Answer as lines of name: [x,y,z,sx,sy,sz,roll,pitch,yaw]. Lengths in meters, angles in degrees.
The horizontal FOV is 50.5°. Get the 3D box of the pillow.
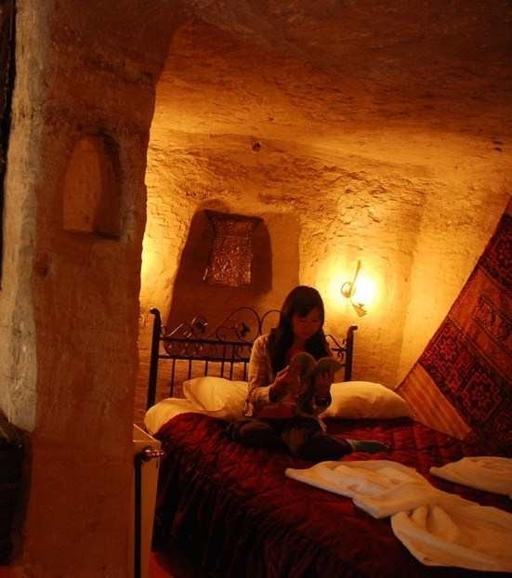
pillow: [0.291,0.548,2.681,0.625,0.166,0.472,4,-1,-30]

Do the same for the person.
person: [0.130,0.303,2.293,0.646,0.792,0.649,3,-4,-19]
